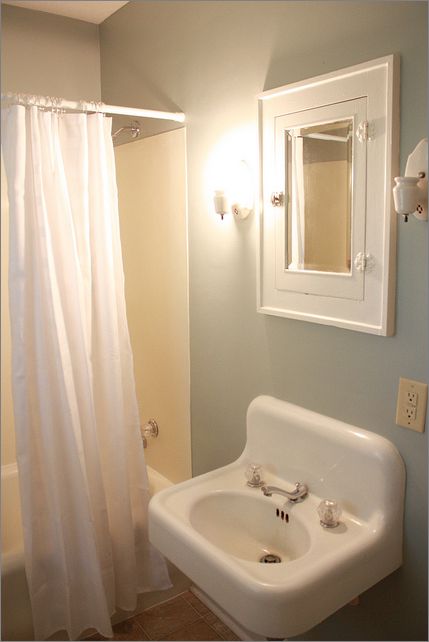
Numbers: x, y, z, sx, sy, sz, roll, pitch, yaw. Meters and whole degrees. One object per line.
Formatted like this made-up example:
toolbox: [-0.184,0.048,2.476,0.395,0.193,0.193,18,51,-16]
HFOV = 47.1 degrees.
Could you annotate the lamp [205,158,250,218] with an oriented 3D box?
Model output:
lamp: [0.050,-0.449,1.657,0.049,0.228,0.284,-7,5,-21]
